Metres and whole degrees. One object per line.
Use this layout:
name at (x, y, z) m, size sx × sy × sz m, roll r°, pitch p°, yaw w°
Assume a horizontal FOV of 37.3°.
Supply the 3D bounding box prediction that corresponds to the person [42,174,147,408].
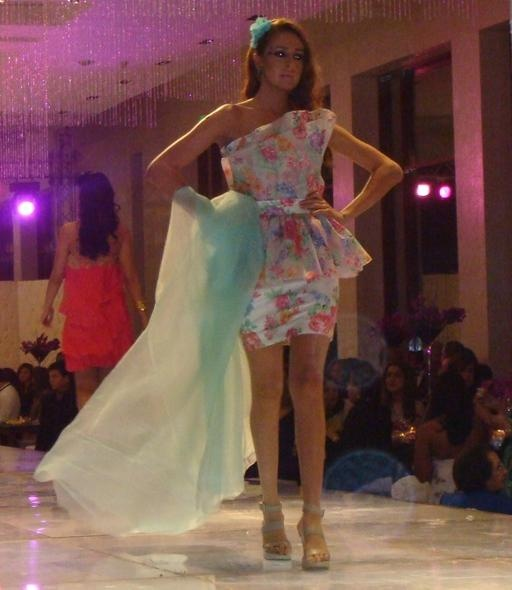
person at (-0.747, -0.025, 3.475) m, size 0.481 × 1.085 × 0.315 m, roll 1°, pitch -3°, yaw -13°

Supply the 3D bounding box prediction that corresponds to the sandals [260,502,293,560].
sandals at (0.046, 0.549, 1.780) m, size 0.068 × 0.109 × 0.153 m, roll 0°, pitch -4°, yaw 0°

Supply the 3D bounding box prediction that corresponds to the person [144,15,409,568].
person at (0.068, -0.056, 2.002) m, size 0.487 × 1.342 × 0.562 m, roll -2°, pitch -3°, yaw 31°

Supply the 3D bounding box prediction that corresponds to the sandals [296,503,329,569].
sandals at (0.134, 0.538, 1.693) m, size 0.060 × 0.103 × 0.213 m, roll 0°, pitch -4°, yaw 4°

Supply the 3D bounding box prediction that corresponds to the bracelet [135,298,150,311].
bracelet at (-0.541, 0.047, 3.505) m, size 0.037 × 0.052 × 0.018 m, roll -14°, pitch -21°, yaw -2°
